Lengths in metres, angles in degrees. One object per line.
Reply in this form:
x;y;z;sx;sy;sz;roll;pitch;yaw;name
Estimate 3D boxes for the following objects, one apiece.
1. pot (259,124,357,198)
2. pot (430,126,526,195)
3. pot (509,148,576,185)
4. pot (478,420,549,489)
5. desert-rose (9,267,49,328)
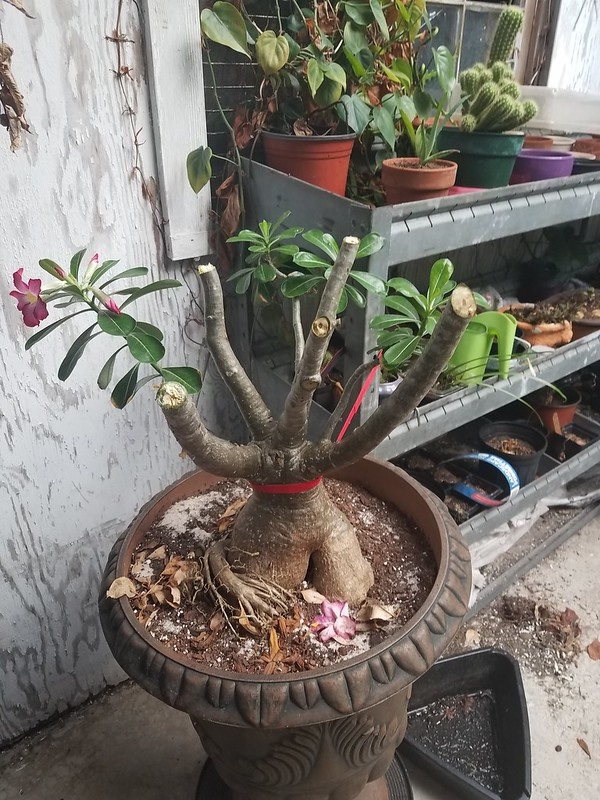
0.026;-0.421;1.036;0.147;0.110;0.142;-1;30;1;pot
0.367;-0.477;1.109;0.170;0.107;0.172;-6;37;5;pot
0.490;-0.480;1.196;0.135;0.051;0.122;-5;30;0;pot
0.589;0.131;1.587;0.183;0.134;0.170;2;26;-1;pot
-0.300;-0.114;0.641;0.043;0.045;0.016;-31;46;16;desert-rose
